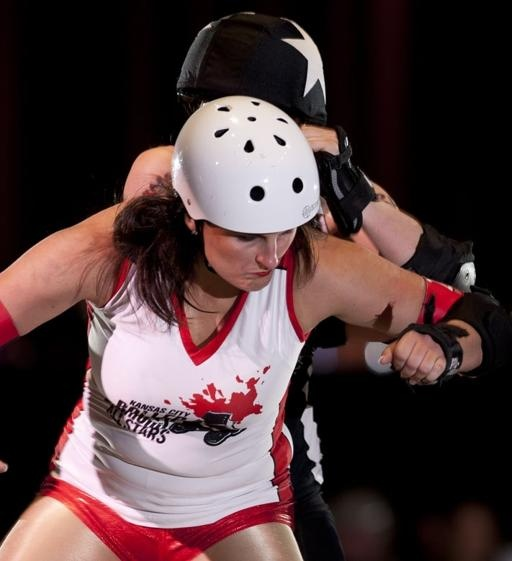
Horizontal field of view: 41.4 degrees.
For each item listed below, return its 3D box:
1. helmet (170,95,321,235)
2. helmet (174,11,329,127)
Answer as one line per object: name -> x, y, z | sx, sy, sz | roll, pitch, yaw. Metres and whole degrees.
helmet -> -0.026, -0.273, 1.463 | 0.249, 0.230, 0.336 | -19, 28, -26
helmet -> -0.007, -0.585, 1.881 | 0.384, 0.272, 0.265 | 8, 23, -3
